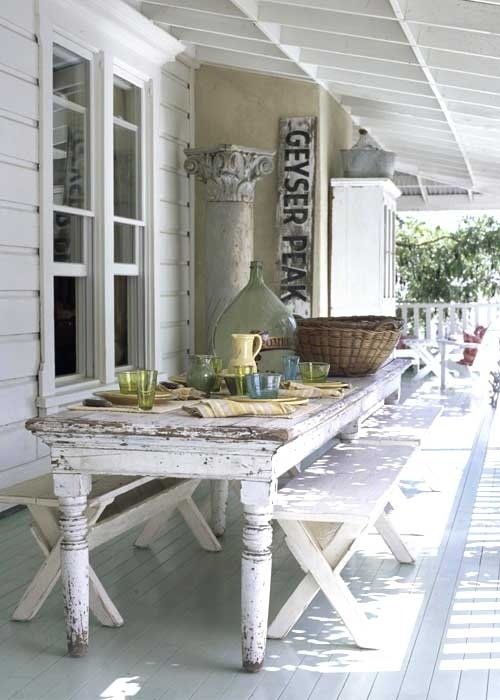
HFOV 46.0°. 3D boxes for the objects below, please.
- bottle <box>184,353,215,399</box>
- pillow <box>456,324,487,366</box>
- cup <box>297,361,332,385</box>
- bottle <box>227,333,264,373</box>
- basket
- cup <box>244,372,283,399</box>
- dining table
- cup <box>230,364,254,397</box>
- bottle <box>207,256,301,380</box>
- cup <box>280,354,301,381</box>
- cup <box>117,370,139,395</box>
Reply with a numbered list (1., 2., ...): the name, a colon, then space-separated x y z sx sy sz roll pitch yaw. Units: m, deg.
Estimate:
1. bottle: -0.152 0.063 1.704 0.083 0.112 0.111 0 -1 4
2. pillow: 3.265 -0.011 8.656 0.415 0.709 0.283 7 20 2
3. cup: 0.213 0.072 1.875 0.069 0.046 0.070 -3 0 0
4. bottle: -0.010 0.011 1.698 0.081 0.123 0.117 -1 -5 35
5. basket: 0.376 -0.017 2.159 0.276 0.140 0.276 -1 -1 -24
6. cup: 0.036 0.088 1.440 0.070 0.045 0.066 -1 1 0
7. dining table: -0.053 0.443 1.660 0.653 0.689 1.034 -2 -4 21
8. cup: -0.007 0.086 1.597 0.073 0.085 0.077 2 -3 0
9. bottle: -0.064 -0.104 2.065 0.341 0.511 0.356 0 1 0
10. cup: 0.135 0.052 1.890 0.075 0.113 0.083 -1 3 -11
11. cup: -0.315 0.084 1.544 0.056 0.050 0.066 0 -5 -4
